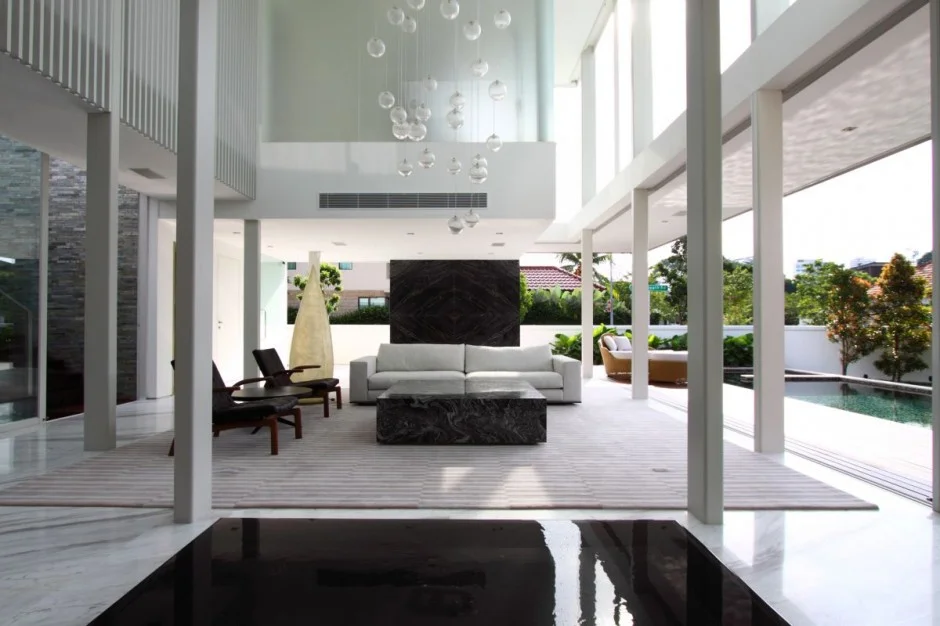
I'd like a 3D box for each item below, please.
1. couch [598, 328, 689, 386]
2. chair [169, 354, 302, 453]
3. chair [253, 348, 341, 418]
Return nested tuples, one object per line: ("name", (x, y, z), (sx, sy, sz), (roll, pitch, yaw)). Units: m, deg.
("couch", (3.398, 0.921, 12.439), (1.605, 0.790, 0.949), (-1, 0, 16))
("chair", (-2.474, 0.964, 7.216), (1.379, 1.111, 1.070), (1, -2, 1))
("chair", (-2.474, 0.981, 8.924), (1.122, 0.951, 0.877), (1, 0, 2))
